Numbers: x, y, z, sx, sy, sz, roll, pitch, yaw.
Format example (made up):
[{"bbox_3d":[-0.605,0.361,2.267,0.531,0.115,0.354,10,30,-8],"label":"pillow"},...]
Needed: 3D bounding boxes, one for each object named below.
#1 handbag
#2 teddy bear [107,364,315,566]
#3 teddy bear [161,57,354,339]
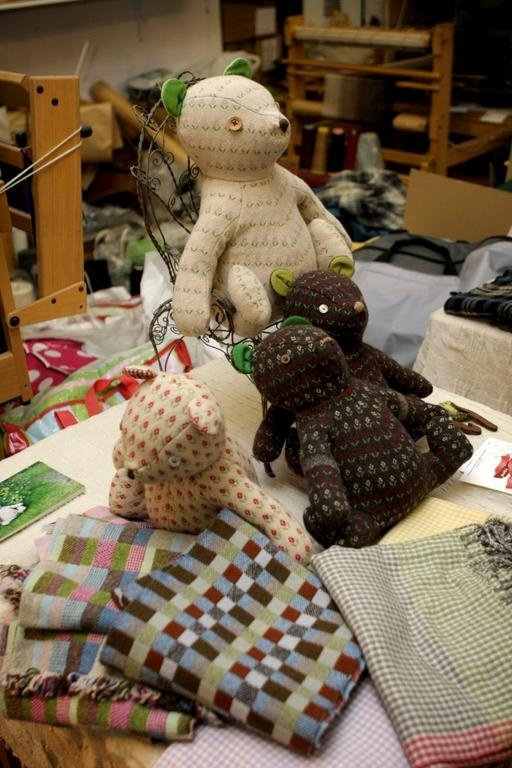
[{"bbox_3d":[0.562,-0.454,2.123,0.379,0.128,0.226,12,36,25],"label":"handbag"},{"bbox_3d":[-0.106,0.146,1.121,0.413,0.317,0.196,20,41,16],"label":"teddy bear"},{"bbox_3d":[0.000,-0.425,1.395,0.562,0.502,0.294,-31,42,-33],"label":"teddy bear"}]
